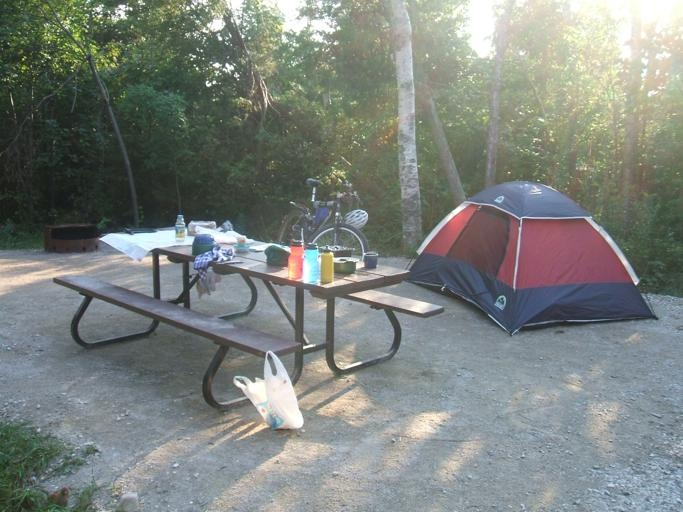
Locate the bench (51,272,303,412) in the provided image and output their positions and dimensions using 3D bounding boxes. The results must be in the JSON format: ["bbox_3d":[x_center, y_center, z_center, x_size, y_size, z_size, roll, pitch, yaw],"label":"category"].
[{"bbox_3d":[-1.771,0.847,5.332,3.105,0.672,0.771,11,18,37],"label":"bench"}]

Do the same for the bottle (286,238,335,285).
[{"bbox_3d":[-0.272,0.043,4.826,0.448,0.352,0.346,10,17,33],"label":"bottle"}]

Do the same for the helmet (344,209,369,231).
[{"bbox_3d":[0.245,-0.654,9.540,0.397,0.316,0.356,3,15,8],"label":"helmet"}]

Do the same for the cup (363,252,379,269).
[{"bbox_3d":[0.291,0.041,5.332,0.138,0.163,0.228,1,14,2],"label":"cup"}]
